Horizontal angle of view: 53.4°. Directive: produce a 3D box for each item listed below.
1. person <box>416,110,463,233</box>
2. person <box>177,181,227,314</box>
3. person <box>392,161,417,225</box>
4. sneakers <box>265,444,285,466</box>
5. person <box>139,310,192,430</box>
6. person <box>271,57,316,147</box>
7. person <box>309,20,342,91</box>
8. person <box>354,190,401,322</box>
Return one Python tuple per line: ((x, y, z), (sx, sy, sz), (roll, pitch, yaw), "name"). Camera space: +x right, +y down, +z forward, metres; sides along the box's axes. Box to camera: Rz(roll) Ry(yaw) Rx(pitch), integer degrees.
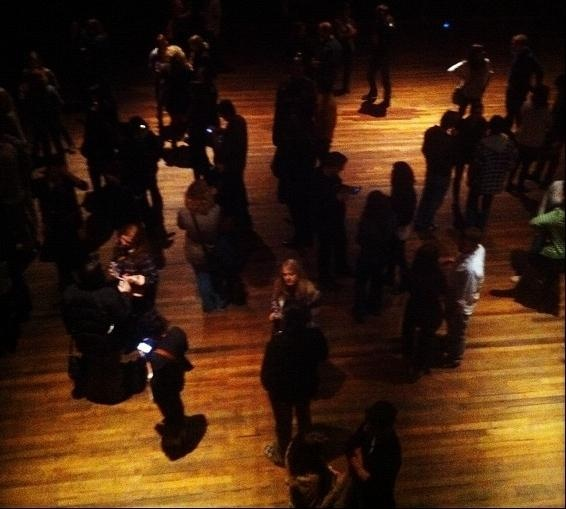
((1.781, -0.923, 6.567), (0.377, 1.543, 0.318), (4, 31, 10), "person")
((-0.837, -0.052, 5.894), (0.442, 1.535, 0.226), (-7, 31, -8), "person")
((1.304, -0.634, 6.096), (0.428, 0.606, 0.252), (-3, -2, -3), "person")
((-0.082, 1.859, 5.268), (0.164, 0.211, 0.059), (-39, -1, -5), "sneakers")
((-1.046, 1.100, 5.188), (0.381, 1.243, 0.365), (-11, 31, -15), "person")
((0.146, -1.680, 6.349), (0.474, 1.025, 0.618), (-9, 30, -11), "person")
((0.574, -2.559, 7.423), (0.380, 0.892, 0.455), (1, 29, 5), "person")
((0.956, 0.049, 5.940), (0.336, 1.503, 0.316), (12, 33, 23), "person")
